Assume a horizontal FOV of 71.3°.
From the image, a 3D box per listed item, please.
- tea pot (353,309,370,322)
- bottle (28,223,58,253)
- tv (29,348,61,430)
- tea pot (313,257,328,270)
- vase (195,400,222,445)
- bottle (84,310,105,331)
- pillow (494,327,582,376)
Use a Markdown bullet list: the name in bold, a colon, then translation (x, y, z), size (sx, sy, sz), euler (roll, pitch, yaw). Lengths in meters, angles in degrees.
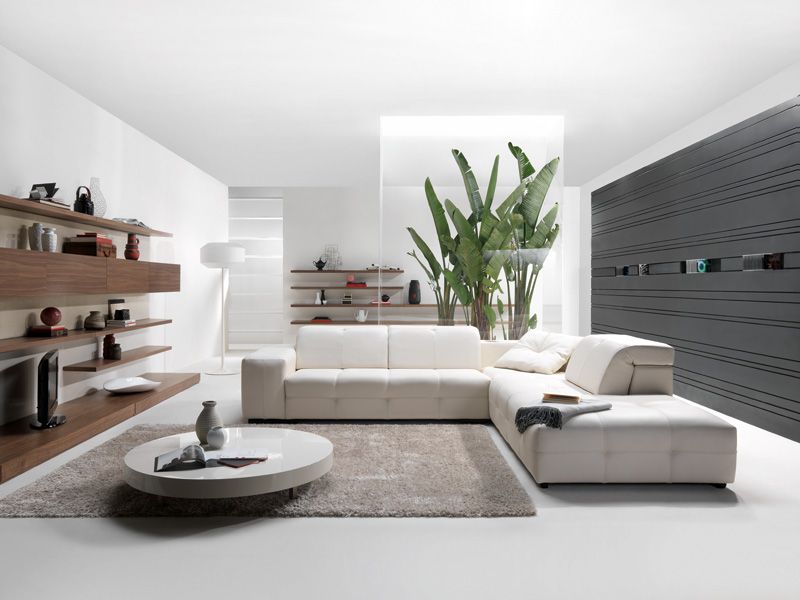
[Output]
- **tea pot**: translation (-0.622, 0.255, 8.732), size (0.243, 0.202, 0.161), euler (6, 14, 22)
- **bottle**: translation (-2.896, -0.504, 4.516), size (0.186, 0.252, 0.366), euler (-6, 14, -27)
- **tv**: translation (-2.700, 0.678, 4.226), size (0.224, 0.551, 0.328), euler (-8, 16, -31)
- **tea pot**: translation (-1.262, -0.546, 8.818), size (0.197, 0.185, 0.184), euler (0, -14, 0)
- **vase**: translation (-1.197, 0.763, 3.495), size (0.167, 0.229, 0.151), euler (1, -4, 16)
- **bottle**: translation (-2.793, 0.200, 5.151), size (0.175, 0.156, 0.169), euler (1, -7, -5)
- **pillow**: translation (1.253, 0.483, 5.055), size (0.761, 0.160, 0.734), euler (-25, 18, -20)
